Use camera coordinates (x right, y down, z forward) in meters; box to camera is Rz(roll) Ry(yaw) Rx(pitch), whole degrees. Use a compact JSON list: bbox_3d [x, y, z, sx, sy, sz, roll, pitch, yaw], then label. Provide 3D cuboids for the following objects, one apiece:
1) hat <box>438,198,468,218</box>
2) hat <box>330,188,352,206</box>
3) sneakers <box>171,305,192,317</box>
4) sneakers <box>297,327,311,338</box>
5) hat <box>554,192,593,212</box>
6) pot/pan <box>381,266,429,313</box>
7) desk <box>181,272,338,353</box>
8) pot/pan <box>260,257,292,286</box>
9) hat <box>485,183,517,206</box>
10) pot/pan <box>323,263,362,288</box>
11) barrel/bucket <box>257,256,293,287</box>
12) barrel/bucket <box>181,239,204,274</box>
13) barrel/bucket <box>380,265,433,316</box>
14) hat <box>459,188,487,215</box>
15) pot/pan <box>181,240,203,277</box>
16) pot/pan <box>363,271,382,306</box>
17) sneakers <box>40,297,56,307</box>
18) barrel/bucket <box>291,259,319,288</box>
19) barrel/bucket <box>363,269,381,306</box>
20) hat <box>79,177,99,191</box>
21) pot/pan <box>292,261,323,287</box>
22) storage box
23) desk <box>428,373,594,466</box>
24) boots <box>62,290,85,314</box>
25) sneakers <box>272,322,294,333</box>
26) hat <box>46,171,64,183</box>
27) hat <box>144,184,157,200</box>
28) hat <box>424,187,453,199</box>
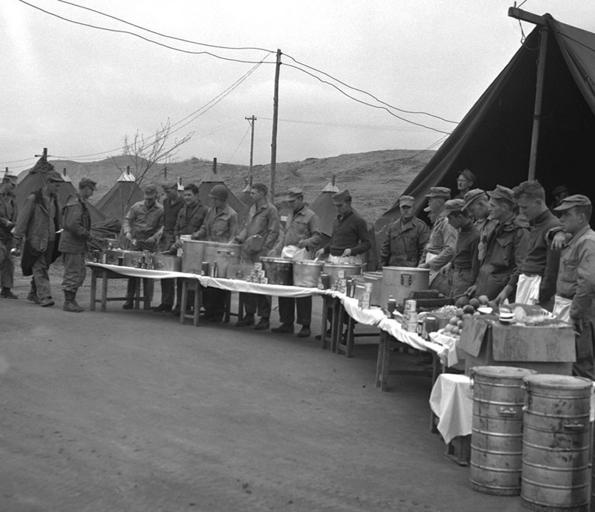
[{"bbox_3d":[1.874,-0.589,9.344,0.227,0.119,0.169,-8,10,-2],"label":"hat"},{"bbox_3d":[0.656,-0.905,11.880,0.254,0.230,0.240,-12,1,4],"label":"hat"},{"bbox_3d":[-2.105,1.007,14.116,0.305,0.121,0.188,-5,3,-6],"label":"sneakers"},{"bbox_3d":[0.085,1.234,12.416,0.097,0.170,0.273,-4,-10,18],"label":"sneakers"},{"bbox_3d":[2.583,-0.507,7.341,0.370,0.167,0.267,-1,2,13],"label":"hat"},{"bbox_3d":[1.265,0.396,9.235,0.523,0.471,0.490,1,-3,-2],"label":"pot/pan"},{"bbox_3d":[-0.313,0.837,12.162,3.492,1.053,1.535,3,-2,38],"label":"desk"},{"bbox_3d":[-0.366,0.232,11.821,0.577,0.400,0.245,3,-1,26],"label":"pot/pan"},{"bbox_3d":[2.227,-0.683,8.546,0.302,0.120,0.214,14,10,2],"label":"hat"},{"bbox_3d":[0.605,0.257,11.268,0.372,0.269,0.380,2,2,35],"label":"pot/pan"},{"bbox_3d":[-0.367,0.149,11.963,0.662,0.625,0.358,6,10,38],"label":"barrel/bucket"},{"bbox_3d":[-1.705,0.018,12.549,0.271,0.487,0.495,4,5,-15],"label":"barrel/bucket"},{"bbox_3d":[1.273,0.388,9.154,0.519,0.501,0.493,1,-3,0],"label":"barrel/bucket"},{"bbox_3d":[2.044,-0.648,9.047,0.267,0.150,0.199,-23,-4,-4],"label":"hat"},{"bbox_3d":[-1.738,0.012,12.592,0.191,0.558,0.597,5,-1,-37],"label":"pot/pan"},{"bbox_3d":[0.970,0.412,9.934,0.381,0.482,0.345,0,-2,4],"label":"pot/pan"},{"bbox_3d":[-4.456,0.795,13.804,0.230,0.213,0.323,4,-1,-22],"label":"sneakers"},{"bbox_3d":[0.114,0.265,11.551,0.376,0.389,0.385,1,1,0],"label":"barrel/bucket"},{"bbox_3d":[0.966,0.408,9.942,0.379,0.479,0.342,0,-2,1],"label":"barrel/bucket"},{"bbox_3d":[-3.657,-1.300,13.822,0.402,0.309,0.320,-7,13,-25],"label":"hat"},{"bbox_3d":[0.133,0.259,11.540,0.384,0.383,0.390,1,2,8],"label":"pot/pan"},{"bbox_3d":[1.837,0.752,6.483,0.866,0.473,0.875,1,6,-21],"label":"storage box"},{"bbox_3d":[1.550,1.243,6.405,0.873,0.846,0.885,0,0,6],"label":"desk"},{"bbox_3d":[-3.930,0.824,13.583,0.554,0.401,0.256,-2,-3,40],"label":"boots"},{"bbox_3d":[-0.231,1.176,12.690,0.426,0.292,0.144,1,2,-9],"label":"sneakers"},{"bbox_3d":[-4.352,-1.434,13.915,0.337,0.160,0.411,1,12,-27],"label":"hat"},{"bbox_3d":[-2.741,-1.217,14.198,0.199,0.273,0.265,8,-44,5],"label":"hat"},{"bbox_3d":[2.019,-0.924,11.219,0.373,0.140,0.288,-2,1,-2],"label":"hat"}]
